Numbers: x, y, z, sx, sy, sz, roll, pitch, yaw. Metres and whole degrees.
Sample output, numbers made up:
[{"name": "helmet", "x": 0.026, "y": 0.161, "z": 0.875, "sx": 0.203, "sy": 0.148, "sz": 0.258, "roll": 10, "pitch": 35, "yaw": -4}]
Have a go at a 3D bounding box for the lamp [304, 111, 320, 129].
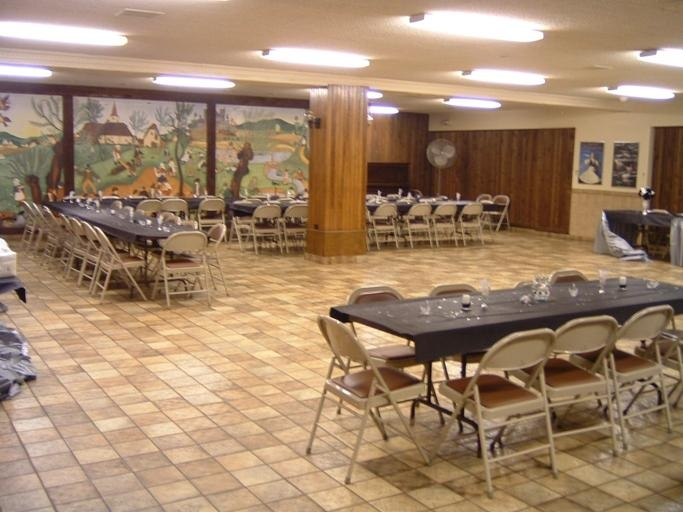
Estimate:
[{"name": "lamp", "x": -0.602, "y": -2.744, "z": 10.180, "sx": 0.447, "sy": 0.319, "sz": 0.357, "roll": -5, "pitch": 11, "yaw": -6}]
